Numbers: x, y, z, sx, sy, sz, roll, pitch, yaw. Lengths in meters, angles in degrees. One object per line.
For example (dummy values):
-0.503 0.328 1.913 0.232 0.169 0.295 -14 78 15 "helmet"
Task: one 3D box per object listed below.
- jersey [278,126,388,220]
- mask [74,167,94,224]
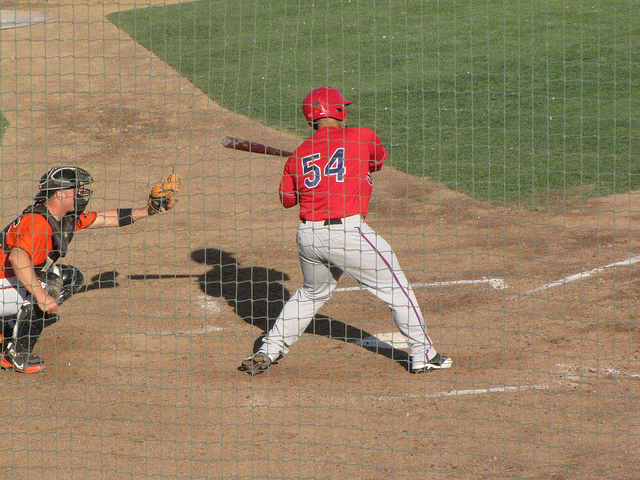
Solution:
0.118 -0.686 13.482 1.023 0.929 0.481 7 26 -2 "jersey"
-2.529 -0.510 13.744 0.160 0.402 0.320 7 6 -7 "mask"
